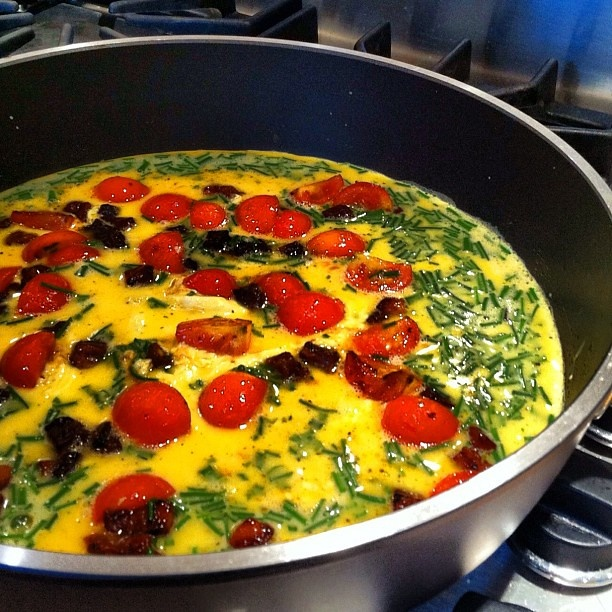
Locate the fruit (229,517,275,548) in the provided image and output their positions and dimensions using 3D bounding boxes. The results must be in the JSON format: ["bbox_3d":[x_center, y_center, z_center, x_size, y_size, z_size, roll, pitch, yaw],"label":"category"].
[{"bbox_3d":[-0.072,0.298,0.871,0.060,0.015,0.039,-5,50,-8],"label":"fruit"}]

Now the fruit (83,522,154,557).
[{"bbox_3d":[-0.242,0.303,0.847,0.089,0.020,0.031,6,50,2],"label":"fruit"}]

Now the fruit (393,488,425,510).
[{"bbox_3d":[0.142,0.268,0.919,0.042,0.017,0.031,7,50,3],"label":"fruit"}]
